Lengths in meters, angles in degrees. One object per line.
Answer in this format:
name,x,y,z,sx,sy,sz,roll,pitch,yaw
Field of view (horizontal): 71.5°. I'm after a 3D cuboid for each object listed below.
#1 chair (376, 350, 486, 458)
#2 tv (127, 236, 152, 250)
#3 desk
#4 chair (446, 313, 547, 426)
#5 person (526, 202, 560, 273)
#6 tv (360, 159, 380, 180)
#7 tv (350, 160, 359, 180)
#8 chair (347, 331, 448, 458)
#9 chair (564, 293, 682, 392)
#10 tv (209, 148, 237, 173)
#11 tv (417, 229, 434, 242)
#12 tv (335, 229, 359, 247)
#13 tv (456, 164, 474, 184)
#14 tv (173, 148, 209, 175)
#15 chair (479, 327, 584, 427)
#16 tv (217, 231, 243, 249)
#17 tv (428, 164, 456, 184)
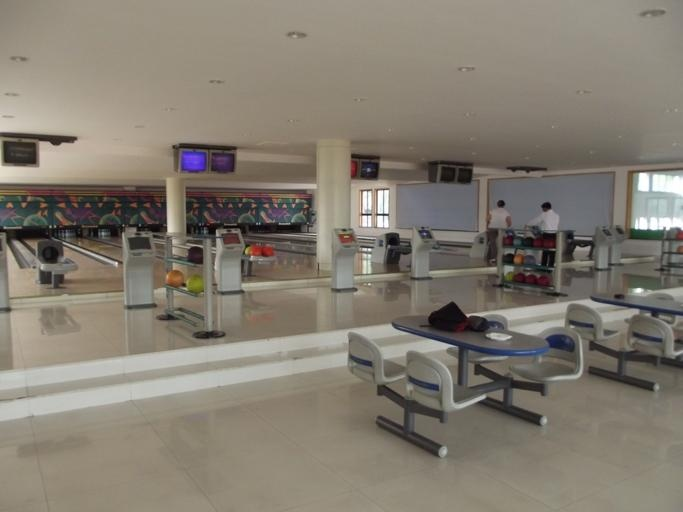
chair,0.643,0.943,3.631,0.744,0.743,0.837,-7,11,-39
tv,-2.767,-0.179,6.439,0.284,0.164,0.274,-5,13,-23
desk,0.962,0.981,3.756,1.258,0.680,1.185,-1,2,-40
chair,1.424,0.957,4.180,0.477,0.788,0.865,7,-4,-24
person,4.095,-0.471,9.598,0.623,1.304,0.639,1,-21,25
tv,0.655,-2.160,11.719,0.531,0.442,0.263,-4,11,-27
tv,0.312,-2.138,11.572,0.184,0.450,0.098,-5,14,-21
chair,0.525,1.037,3.688,0.670,0.747,1.036,4,-3,-41
chair,2.920,0.860,4.908,1.316,0.613,0.953,-4,6,-40
tv,-2.554,-2.021,10.115,0.588,0.498,0.240,-4,14,-21
tv,1.589,-0.424,9.028,0.308,0.239,0.324,2,12,9
tv,0.077,-0.303,7.873,0.401,0.268,0.345,-5,13,-23
tv,3.470,-2.363,13.497,0.598,0.499,0.302,-3,18,-12
tv,-3.131,-1.954,9.984,0.852,0.703,0.477,-2,11,-30
chair,1.634,0.936,3.980,0.704,0.601,0.641,-5,1,-23
tv,-1.762,-0.254,7.376,0.327,0.277,0.173,0,-2,-31
tv,2.873,-2.317,13.270,0.887,0.479,0.560,0,10,-20
